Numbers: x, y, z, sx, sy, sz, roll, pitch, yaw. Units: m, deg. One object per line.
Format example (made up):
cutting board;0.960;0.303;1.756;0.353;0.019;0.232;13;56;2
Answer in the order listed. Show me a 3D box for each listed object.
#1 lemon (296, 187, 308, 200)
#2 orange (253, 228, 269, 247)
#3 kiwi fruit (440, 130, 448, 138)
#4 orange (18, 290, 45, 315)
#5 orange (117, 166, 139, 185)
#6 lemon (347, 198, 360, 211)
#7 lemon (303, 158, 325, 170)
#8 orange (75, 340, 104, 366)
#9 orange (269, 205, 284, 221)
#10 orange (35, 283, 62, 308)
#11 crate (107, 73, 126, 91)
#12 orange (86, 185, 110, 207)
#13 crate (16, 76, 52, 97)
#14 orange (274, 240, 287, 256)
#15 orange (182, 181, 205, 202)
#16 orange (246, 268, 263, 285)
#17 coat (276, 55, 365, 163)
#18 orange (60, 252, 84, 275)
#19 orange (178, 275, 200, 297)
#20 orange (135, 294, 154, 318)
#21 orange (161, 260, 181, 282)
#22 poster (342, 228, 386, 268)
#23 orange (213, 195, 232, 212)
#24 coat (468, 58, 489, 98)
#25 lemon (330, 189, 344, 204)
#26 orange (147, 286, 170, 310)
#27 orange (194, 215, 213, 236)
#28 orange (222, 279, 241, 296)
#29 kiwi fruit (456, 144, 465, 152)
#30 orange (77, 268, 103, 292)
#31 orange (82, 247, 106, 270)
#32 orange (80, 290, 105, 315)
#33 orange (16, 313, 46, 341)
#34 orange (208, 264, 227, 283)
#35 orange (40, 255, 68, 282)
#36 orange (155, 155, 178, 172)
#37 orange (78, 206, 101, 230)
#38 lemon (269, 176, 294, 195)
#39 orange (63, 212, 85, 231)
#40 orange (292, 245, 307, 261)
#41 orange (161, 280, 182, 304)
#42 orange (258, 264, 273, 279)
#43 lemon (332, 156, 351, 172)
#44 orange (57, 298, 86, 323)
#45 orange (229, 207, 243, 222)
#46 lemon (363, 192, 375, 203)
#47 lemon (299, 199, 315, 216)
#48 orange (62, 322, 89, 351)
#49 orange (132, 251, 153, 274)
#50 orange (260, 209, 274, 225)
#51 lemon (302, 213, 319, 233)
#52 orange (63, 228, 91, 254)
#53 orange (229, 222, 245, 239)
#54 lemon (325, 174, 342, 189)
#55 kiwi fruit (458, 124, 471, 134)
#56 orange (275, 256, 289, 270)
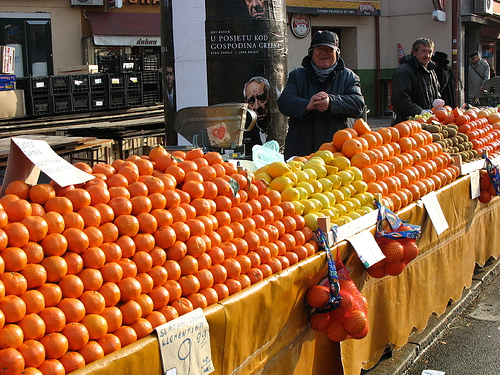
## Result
lemon;0.337;0.037;2.947;0.053;0.068;0.070;-14;12;-40
orange;0.062;0.274;2.518;0.069;0.091;0.082;-2;11;13
kiwi fruit;2.024;-0.557;4.705;0.057;0.070;0.073;-24;17;-32
orange;-0.811;0.424;1.690;0.069;0.101;0.076;-4;-16;-20
orange;-0.622;-0.054;2.317;0.075;0.102;0.081;-16;-22;-33
lemon;0.739;0.117;3.220;0.052;0.067;0.073;-14;10;-22
lemon;0.451;-0.178;3.244;0.088;0.061;0.078;-23;-2;-3
orange;-0.619;0.638;1.765;0.069;0.080;0.070;18;22;41
orange;0.154;0.140;2.683;0.061;0.094;0.073;3;18;8
orange;-0.778;0.422;1.774;0.083;0.106;0.092;-7;-9;-13
crate;-2.912;-2.310;9.926;0.141;0.378;0.490;3;14;37
orange;-0.689;0.033;2.061;0.081;0.099;0.085;-3;-22;-22
crate;-4.267;-1.981;8.937;0.655;0.397;0.403;-8;11;-14
orange;0.173;0.344;2.587;0.056;0.090;0.068;-2;6;7
orange;-0.296;0.002;2.413;0.090;0.114;0.099;-7;-31;-32
orange;0.025;0.457;2.379;0.061;0.074;0.071;-1;43;-7
coat;0.790;-0.799;4.939;0.720;1.273;0.751;7;16;22
orange;-0.711;0.300;1.831;0.069;0.104;0.082;-2;20;7
orange;-0.281;0.450;2.107;0.075;0.097;0.083;1;7;2
orange;-0.446;0.502;1.949;0.065;0.102;0.076;2;6;2
orange;-0.353;0.372;2.083;0.068;0.108;0.079;-3;12;3
poster;0.772;0.400;2.996;0.171;0.233;0.362;4;14;38
orange;-0.148;0.085;2.449;0.070;0.093;0.075;-2;5;-2
coat;7.864;-3.771;15.691;0.585;1.244;0.722;-11;12;-39
lemon;0.609;0.059;3.189;0.061;0.078;0.086;-6;11;-21
orange;-0.406;0.477;1.998;0.073;0.098;0.081;1;3;3
orange;-0.232;0.181;2.355;0.073;0.107;0.084;-12;-18;-27
orange;-0.083;0.496;2.255;0.058;0.092;0.066;-1;-12;-9
kiwi fruit;2.218;-0.421;4.761;0.062;0.043;0.071;-5;21;-13
orange;-0.646;0.362;1.882;0.083;0.107;0.098;5;18;-9
orange;-0.644;0.292;1.880;0.071;0.097;0.083;-12;23;-8
orange;-0.626;0.456;1.815;0.076;0.097;0.085;7;-7;-8
orange;-0.799;0.506;1.655;0.077;0.105;0.088;-6;-39;-26
orange;-0.155;0.417;2.224;0.069;0.089;0.076;1;4;1
orange;-0.778;0.326;1.813;0.092;0.118;0.105;-3;-9;27
orange;-0.451;-0.153;2.489;0.083;0.103;0.090;5;8;-22
orange;-0.696;0.128;1.995;0.079;0.118;0.088;-13;15;-20
lemon;0.202;-0.018;2.927;0.105;0.087;0.091;-4;9;0
orange;-0.742;0.138;1.910;0.061;0.079;0.067;-1;3;2
orange;0.287;0.382;2.640;0.064;0.099;0.072;1;-1;-11
orange;-0.350;0.451;2.015;0.075;0.100;0.084;-3;-5;-13
orange;0.087;0.444;2.434;0.052;0.062;0.061;-1;41;-10
lemon;0.664;-0.173;3.295;0.101;0.105;0.086;-1;3;24
orange;-0.689;0.470;1.755;0.076;0.099;0.082;1;7;6
orange;-0.078;0.142;2.475;0.057;0.087;0.067;0;14;4
lemon;0.856;0.075;3.263;0.063;0.065;0.053;2;7;32
lemon;0.367;0.128;2.861;0.079;0.082;0.069;3;3;16
orange;-0.659;0.557;1.745;0.079;0.100;0.093;3;21;8
orange;-0.472;0.324;2.003;0.076;0.111;0.076;-8;4;-27
orange;0.099;0.164;2.625;0.062;0.100;0.073;-1;10;5
lemon;0.386;0.217;2.850;0.081;0.119;0.085;-13;-6;42
orange;-0.724;0.230;1.897;0.093;0.127;0.087;-13;-5;-35
orange;-0.071;0.222;2.428;0.060;0.080;0.067;0;7;0
lemon;0.591;-0.045;3.218;0.090;0.085;0.080;-6;28;39
kiwi fruit;2.365;-0.649;4.987;0.179;0.103;0.074;-9;11;-21
orange;0.185;0.419;2.533;0.052;0.069;0.059;-1;-8;-9
